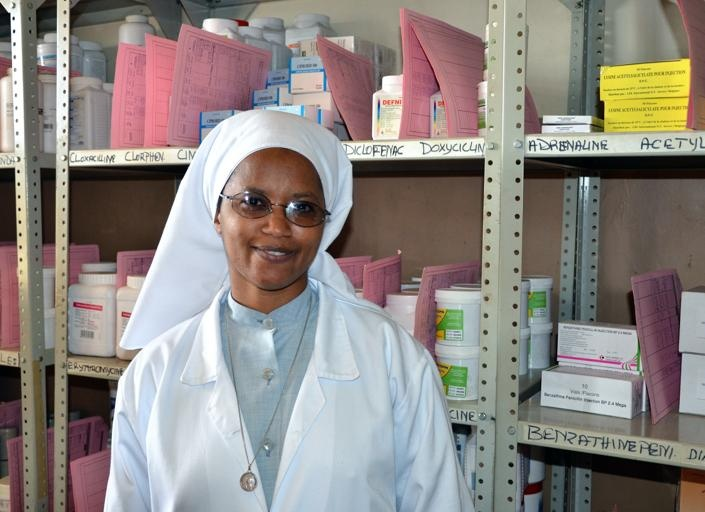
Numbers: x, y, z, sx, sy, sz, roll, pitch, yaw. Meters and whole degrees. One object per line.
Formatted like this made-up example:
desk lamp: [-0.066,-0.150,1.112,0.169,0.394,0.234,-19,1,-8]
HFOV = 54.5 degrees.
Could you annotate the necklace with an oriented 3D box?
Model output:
necklace: [-0.193,0.311,1.614,0.223,0.412,0.204,0,1,-12]

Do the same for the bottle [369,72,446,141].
bottle: [0.181,-0.430,2.116,0.183,0.303,0.200,0,3,0]

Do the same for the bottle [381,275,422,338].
bottle: [0.169,0.184,2.199,0.103,0.152,0.143,-2,7,-31]
